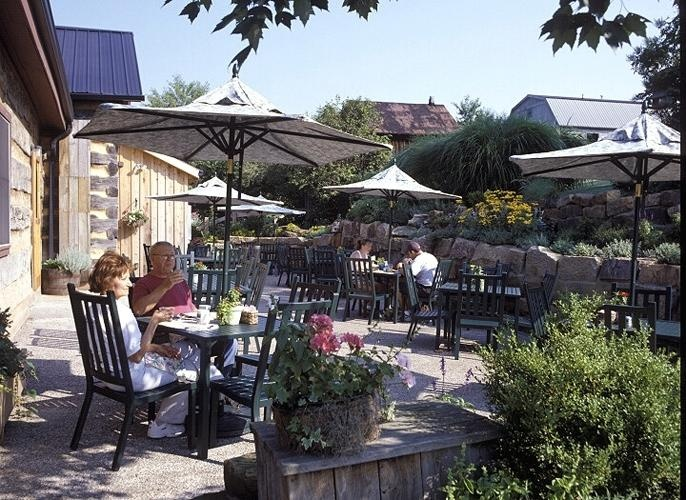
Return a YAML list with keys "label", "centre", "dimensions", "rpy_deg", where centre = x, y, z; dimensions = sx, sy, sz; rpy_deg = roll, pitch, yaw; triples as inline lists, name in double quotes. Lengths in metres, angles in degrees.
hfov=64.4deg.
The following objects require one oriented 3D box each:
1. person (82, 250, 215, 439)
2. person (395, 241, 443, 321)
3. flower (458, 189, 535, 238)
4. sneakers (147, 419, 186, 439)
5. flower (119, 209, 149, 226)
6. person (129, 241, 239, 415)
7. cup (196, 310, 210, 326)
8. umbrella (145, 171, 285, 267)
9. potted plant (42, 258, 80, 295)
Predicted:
- label: "person"
  centre: [-1.540, 0.771, 4.528]
  dimensions: [0.780, 1.602, 0.602]
  rpy_deg: [-11, 7, -25]
- label: "person"
  centre: [1.276, 0.546, 9.657]
  dimensions: [0.687, 1.368, 0.599]
  rpy_deg: [4, 7, 16]
- label: "flower"
  centre: [3.379, -0.739, 12.095]
  dimensions: [1.245, 0.822, 1.316]
  rpy_deg: [2, 5, 3]
- label: "sneakers"
  centre: [-1.465, 1.512, 4.644]
  dimensions: [0.329, 0.175, 0.118]
  rpy_deg: [3, 1, -17]
- label: "flower"
  centre: [-5.066, -0.803, 13.382]
  dimensions: [0.442, 0.420, 0.175]
  rpy_deg: [-2, -26, -9]
- label: "person"
  centre: [-1.469, 0.591, 5.166]
  dimensions: [0.922, 1.313, 0.711]
  rpy_deg: [6, 12, 24]
- label: "cup"
  centre: [-1.208, 0.590, 4.778]
  dimensions: [0.102, 0.120, 0.112]
  rpy_deg: [0, -1, -7]
- label: "umbrella"
  centre: [-2.659, -0.731, 12.108]
  dimensions: [1.863, 1.062, 1.929]
  rpy_deg: [3, -3, -42]
- label: "potted plant"
  centre: [-5.427, 0.499, 10.583]
  dimensions: [0.669, 0.573, 0.681]
  rpy_deg: [-2, -3, 28]
